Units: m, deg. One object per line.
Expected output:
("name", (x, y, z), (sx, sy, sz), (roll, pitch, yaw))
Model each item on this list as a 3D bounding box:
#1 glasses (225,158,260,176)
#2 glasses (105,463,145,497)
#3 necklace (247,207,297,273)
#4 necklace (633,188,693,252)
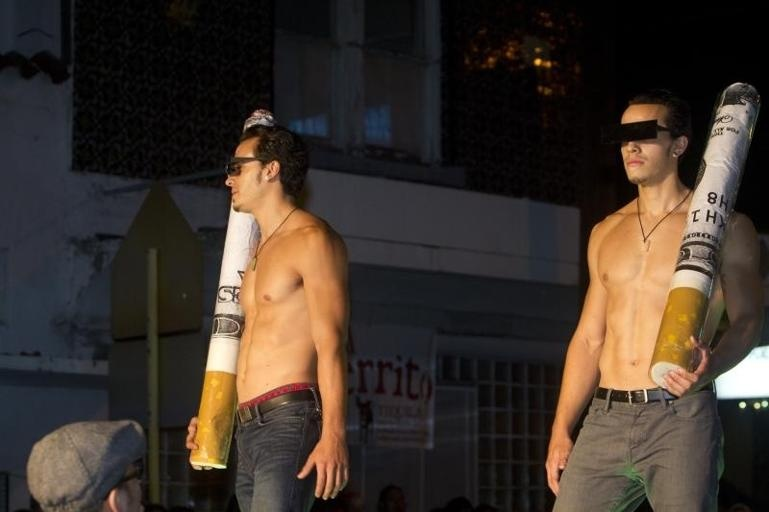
("glasses", (-0.823, -0.522, 8.910), (0.142, 0.043, 0.126), (7, -25, -28))
("glasses", (-1.301, 1.115, 7.829), (0.142, 0.033, 0.127), (-19, 2, 12))
("necklace", (-0.652, -0.089, 8.843), (0.200, 0.350, 0.228), (1, -4, -23))
("necklace", (1.532, -0.189, 8.729), (0.301, 0.320, 0.249), (7, -7, 22))
